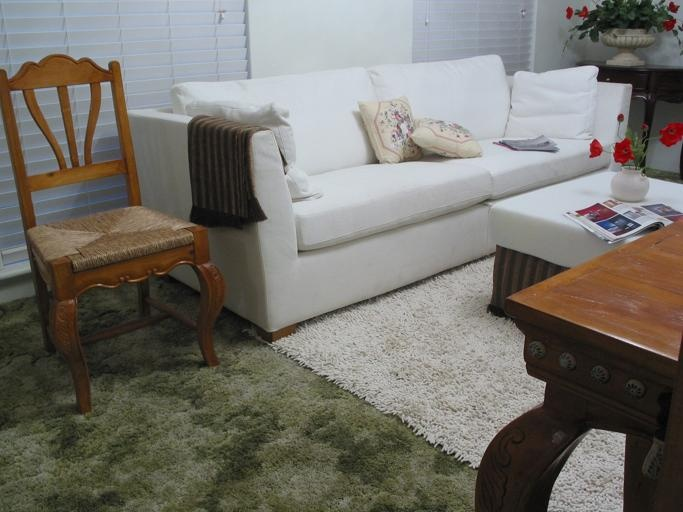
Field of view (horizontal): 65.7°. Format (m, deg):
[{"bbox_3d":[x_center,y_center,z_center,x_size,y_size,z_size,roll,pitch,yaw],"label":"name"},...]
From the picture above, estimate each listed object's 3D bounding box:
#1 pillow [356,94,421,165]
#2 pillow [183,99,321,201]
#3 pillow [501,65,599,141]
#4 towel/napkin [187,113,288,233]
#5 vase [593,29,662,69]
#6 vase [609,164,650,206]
[{"bbox_3d":[0.306,-0.716,3.066,0.223,0.355,0.421,19,27,39],"label":"pillow"},{"bbox_3d":[-0.391,-0.382,2.260,0.485,0.157,0.485,-6,42,-34],"label":"pillow"},{"bbox_3d":[1.389,-0.992,3.522,0.700,0.565,0.267,8,19,35],"label":"pillow"},{"bbox_3d":[-0.448,-0.335,2.183,0.380,0.483,0.146,12,16,24],"label":"towel/napkin"},{"bbox_3d":[2.341,-1.687,4.351,0.452,0.250,0.454,-3,14,-8],"label":"vase"},{"bbox_3d":[1.288,-0.326,2.376,0.154,0.140,0.153,-12,27,-15],"label":"vase"}]
